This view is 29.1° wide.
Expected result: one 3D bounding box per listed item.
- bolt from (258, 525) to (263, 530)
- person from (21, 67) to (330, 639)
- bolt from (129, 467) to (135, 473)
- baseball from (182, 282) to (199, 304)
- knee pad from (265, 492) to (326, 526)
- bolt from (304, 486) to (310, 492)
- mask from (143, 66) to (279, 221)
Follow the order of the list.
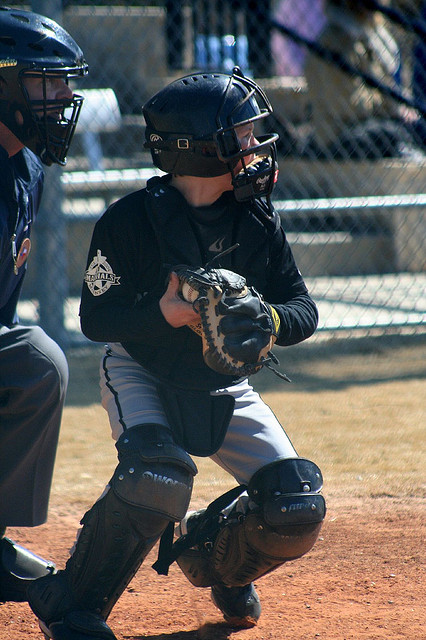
[{"bbox_3d":[0.109,0.472,1.891,0.011,0.009,0.002,-2,11,7],"label":"bolt"},{"bbox_3d":[-0.074,0.110,1.973,0.835,1.403,0.656,-5,15,-16],"label":"person"},{"bbox_3d":[-0.178,0.322,1.779,0.010,0.009,0.002,-2,-18,2],"label":"bolt"},{"bbox_3d":[-0.053,-0.059,1.835,0.047,0.039,0.045,4,10,26],"label":"baseball"},{"bbox_3d":[0.192,0.434,1.904,0.154,0.075,0.065,-4,14,-13],"label":"knee pad"},{"bbox_3d":[0.219,0.391,1.924,0.017,0.012,0.010,-6,14,-20],"label":"bolt"},{"bbox_3d":[0.007,-0.435,2.050,0.347,0.384,0.274,-4,14,-11],"label":"mask"}]
